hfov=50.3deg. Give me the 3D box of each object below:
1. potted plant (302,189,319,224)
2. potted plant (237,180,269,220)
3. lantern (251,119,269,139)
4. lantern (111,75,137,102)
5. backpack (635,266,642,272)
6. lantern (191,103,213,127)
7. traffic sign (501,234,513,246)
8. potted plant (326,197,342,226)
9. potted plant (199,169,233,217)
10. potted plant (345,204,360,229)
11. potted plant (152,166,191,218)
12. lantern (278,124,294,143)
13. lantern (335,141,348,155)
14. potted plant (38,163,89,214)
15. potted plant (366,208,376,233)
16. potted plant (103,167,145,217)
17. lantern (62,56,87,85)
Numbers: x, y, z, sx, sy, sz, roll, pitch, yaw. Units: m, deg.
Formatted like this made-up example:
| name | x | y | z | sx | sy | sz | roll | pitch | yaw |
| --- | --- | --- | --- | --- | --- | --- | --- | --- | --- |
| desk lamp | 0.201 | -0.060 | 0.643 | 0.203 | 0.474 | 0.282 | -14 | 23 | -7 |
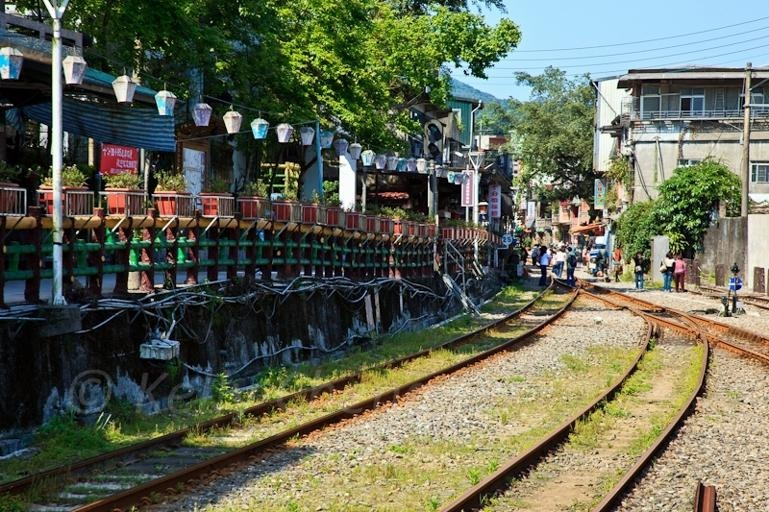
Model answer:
| name | x | y | z | sx | sy | sz | roll | pitch | yaw |
| --- | --- | --- | --- | --- | --- | --- | --- | --- | --- |
| potted plant | -2.351 | -1.309 | 23.231 | 0.546 | 1.184 | 0.609 | 1 | -3 | -2 |
| potted plant | -3.395 | -1.371 | 20.884 | 0.568 | 0.912 | 1.047 | 0 | 2 | 14 |
| lantern | -3.560 | -3.652 | 23.461 | 0.365 | 0.579 | 0.756 | 0 | 2 | -3 |
| lantern | -5.907 | -3.715 | 18.751 | 0.564 | 0.876 | 0.576 | 3 | 7 | 26 |
| backpack | 13.325 | 0.751 | 43.361 | 0.272 | 0.319 | 0.209 | -2 | -5 | 32 |
| lantern | -4.903 | -3.771 | 22.005 | 0.434 | 0.579 | 0.594 | -1 | 2 | -19 |
| traffic sign | 8.438 | -1.024 | 57.198 | 0.832 | 1.351 | 0.238 | 0 | -4 | -2 |
| potted plant | -1.515 | -1.287 | 24.547 | 0.375 | 0.815 | 0.848 | 0 | 2 | 3 |
| potted plant | -4.232 | -1.456 | 20.067 | 0.693 | 1.075 | 0.741 | 5 | 4 | -28 |
| potted plant | -1.006 | -1.149 | 25.812 | 0.408 | 0.810 | 0.762 | -1 | -2 | 12 |
| potted plant | -4.867 | -1.310 | 18.768 | 0.538 | 1.594 | 1.456 | 6 | 0 | -28 |
| lantern | -2.841 | -3.595 | 23.494 | 0.536 | 0.711 | 0.533 | 1 | -2 | -8 |
| lantern | -1.562 | -3.865 | 29.676 | 0.362 | 0.577 | 0.440 | -2 | 6 | -12 |
| potted plant | -6.587 | -1.322 | 16.983 | 0.990 | 1.047 | 1.465 | -1 | 2 | -40 |
| potted plant | -0.506 | -1.146 | 27.190 | 0.424 | 0.747 | 0.703 | 0 | 0 | 23 |
| potted plant | -5.518 | -1.298 | 17.509 | 0.827 | 0.933 | 0.642 | -1 | 2 | -19 |
| lantern | -6.413 | -3.840 | 16.972 | 0.435 | 0.619 | 0.423 | -1 | 2 | -23 |
